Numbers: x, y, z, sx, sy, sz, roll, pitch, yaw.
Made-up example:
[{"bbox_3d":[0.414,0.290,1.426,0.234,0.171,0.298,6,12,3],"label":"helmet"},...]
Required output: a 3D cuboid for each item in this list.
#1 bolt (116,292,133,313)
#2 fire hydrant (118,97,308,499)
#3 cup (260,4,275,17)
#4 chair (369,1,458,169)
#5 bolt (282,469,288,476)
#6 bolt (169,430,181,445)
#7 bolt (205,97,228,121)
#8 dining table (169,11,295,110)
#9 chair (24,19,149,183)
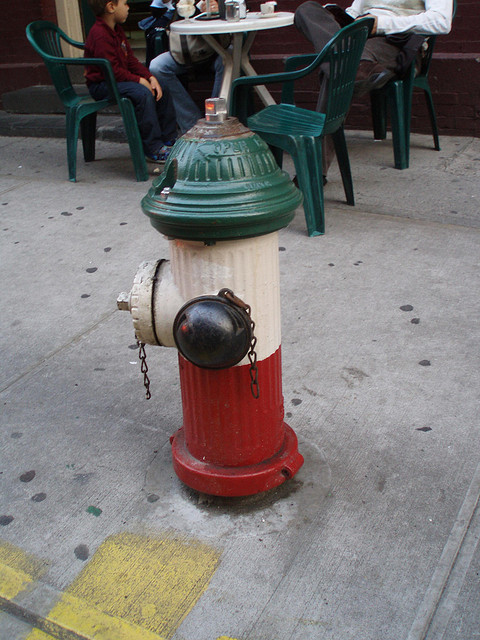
[{"bbox_3d":[-0.321,-0.049,1.651,0.060,0.049,0.036,1,4,6],"label":"bolt"},{"bbox_3d":[-0.053,0.003,1.591,0.519,1.136,0.444,-11,20,-10],"label":"fire hydrant"},{"bbox_3d":[0.225,-2.475,4.707,0.108,0.112,0.219,-5,18,4],"label":"cup"},{"bbox_3d":[1.492,-1.901,5.176,0.635,1.050,1.042,-2,19,14],"label":"chair"},{"bbox_3d":[0.136,0.454,1.752,0.023,0.018,0.014,4,13,35],"label":"bolt"},{"bbox_3d":[-0.218,0.386,1.944,0.054,0.022,0.068,-2,1,1],"label":"bolt"},{"bbox_3d":[-0.048,-0.515,1.435,0.064,0.071,0.056,-2,21,1],"label":"bolt"},{"bbox_3d":[-0.067,-2.186,5.006,0.981,0.635,0.935,14,31,21],"label":"dining table"},{"bbox_3d":[-1.429,-2.100,5.766,0.793,1.414,2.264,-9,18,-7],"label":"chair"}]
